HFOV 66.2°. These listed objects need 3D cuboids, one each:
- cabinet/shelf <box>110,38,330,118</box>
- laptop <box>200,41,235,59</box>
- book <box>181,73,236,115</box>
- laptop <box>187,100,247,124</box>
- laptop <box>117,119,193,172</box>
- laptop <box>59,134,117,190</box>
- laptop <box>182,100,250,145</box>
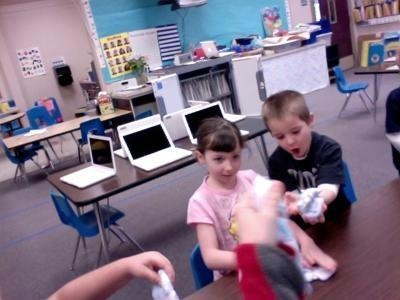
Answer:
[{"bbox_3d":[0.117,-1.000,4.291,1.569,0.813,1.617,-19,19,-27],"label":"cabinet/shelf"},{"bbox_3d":[0.207,-1.586,5.002,0.357,0.248,0.382,12,25,35],"label":"laptop"},{"bbox_3d":[0.100,-0.863,4.468,0.702,0.711,0.229,-17,16,-25],"label":"book"},{"bbox_3d":[0.220,-0.404,3.273,0.439,0.199,0.316,-19,22,-40],"label":"laptop"},{"bbox_3d":[-0.401,-0.178,2.535,0.509,0.333,0.443,-20,24,-34],"label":"laptop"},{"bbox_3d":[-0.900,0.114,2.606,0.402,0.472,0.528,-14,18,-42],"label":"laptop"},{"bbox_3d":[0.073,-0.295,2.789,0.535,0.349,0.401,-18,19,-29],"label":"laptop"}]
